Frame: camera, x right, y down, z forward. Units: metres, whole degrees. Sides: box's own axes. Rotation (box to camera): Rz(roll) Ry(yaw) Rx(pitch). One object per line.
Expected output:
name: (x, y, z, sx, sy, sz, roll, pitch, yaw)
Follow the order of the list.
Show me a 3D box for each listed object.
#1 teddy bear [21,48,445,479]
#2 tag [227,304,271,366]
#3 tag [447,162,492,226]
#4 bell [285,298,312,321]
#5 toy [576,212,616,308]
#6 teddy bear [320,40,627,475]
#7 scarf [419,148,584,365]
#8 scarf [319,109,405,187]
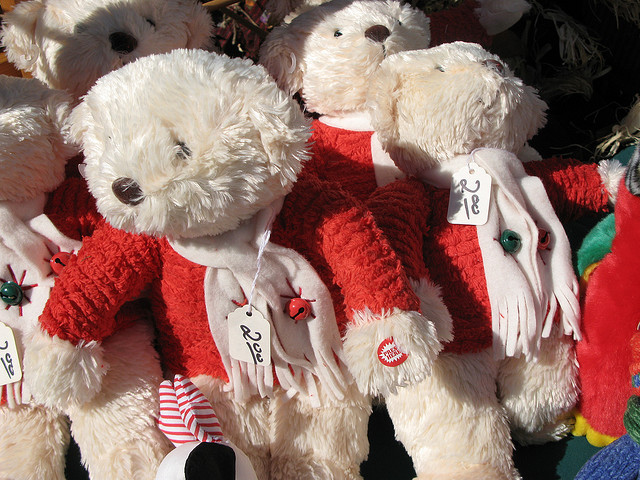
teddy bear: (-0.173, 0.077, 1.335, 0.644, 0.785, 0.412, -10, 11, 13)
tag: (-0.127, 0.170, 1.306, 0.096, 0.134, 0.006, 11, 29, 20)
tag: (0.289, -0.093, 1.381, 0.081, 0.128, 0.007, 1, 8, -13)
bell: (-0.036, 0.127, 1.302, 0.042, 0.038, 0.019, 0, 25, 0)
toy: (0.549, 0.029, 1.421, 0.048, 0.152, 0.129, 2, -8, -20)
teddy bear: (0.283, 0.067, 1.398, 0.675, 0.713, 0.405, -14, 17, -14)
scarf: (0.391, 0.026, 1.447, 0.221, 0.407, 0.121, -11, -2, -4)
scarf: (0.111, -0.208, 1.566, 0.051, 0.174, 0.166, -14, 22, -42)
